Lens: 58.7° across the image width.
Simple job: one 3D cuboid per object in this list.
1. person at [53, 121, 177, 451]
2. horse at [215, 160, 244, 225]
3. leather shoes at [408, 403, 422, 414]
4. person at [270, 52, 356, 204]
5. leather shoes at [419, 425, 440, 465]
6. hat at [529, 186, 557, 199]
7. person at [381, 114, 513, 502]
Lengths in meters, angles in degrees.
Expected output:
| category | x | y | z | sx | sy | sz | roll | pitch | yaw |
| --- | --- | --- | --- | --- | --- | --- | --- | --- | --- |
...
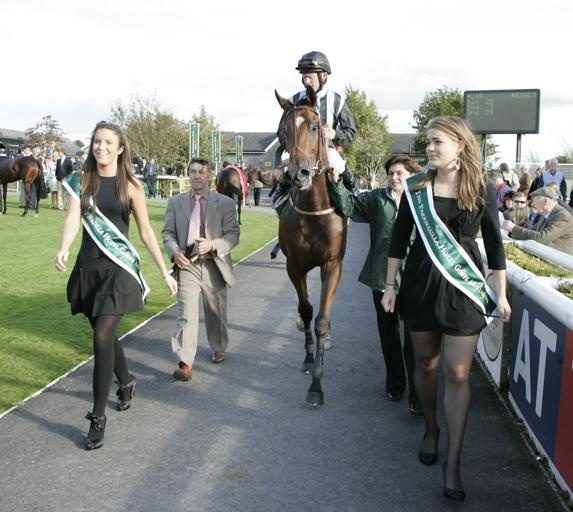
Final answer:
| category | x | y | z | sx | sy | sz | roll | pitch | yaw |
| --- | --- | --- | --- | --- | --- | --- | --- | --- | --- |
| person | -1.253 | 0.124 | 3.648 | 0.579 | 2.162 | 0.680 | 6 | 8 | 40 |
| horse | -1.710 | -2.215 | 16.825 | 0.616 | 1.796 | 2.379 | 1 | 8 | 9 |
| leather shoes | 0.984 | 1.178 | 3.893 | 0.067 | 0.080 | 0.130 | 3 | 2 | -1 |
| person | 0.219 | -1.193 | 5.052 | 0.987 | 1.687 | 0.720 | -11 | 14 | -38 |
| leather shoes | 0.913 | 1.194 | 3.226 | 0.114 | 0.052 | 0.401 | -8 | 13 | 22 |
| hat | 3.408 | -0.825 | 6.693 | 0.195 | 0.078 | 0.203 | 10 | 2 | 13 |
| person | 0.936 | 0.264 | 2.951 | 0.448 | 2.122 | 0.573 | -4 | 8 | -37 |
